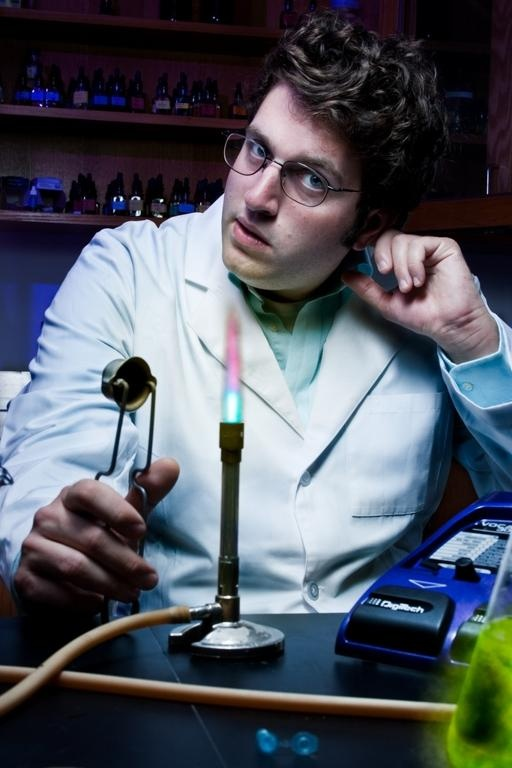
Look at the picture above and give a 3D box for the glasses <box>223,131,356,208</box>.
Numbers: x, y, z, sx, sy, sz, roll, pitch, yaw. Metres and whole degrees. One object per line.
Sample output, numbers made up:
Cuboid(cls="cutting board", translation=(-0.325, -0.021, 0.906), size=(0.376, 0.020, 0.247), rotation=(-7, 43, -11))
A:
Cuboid(cls="glasses", translation=(0.051, -0.289, 0.918), size=(0.175, 0.101, 0.085), rotation=(3, -2, 5))
